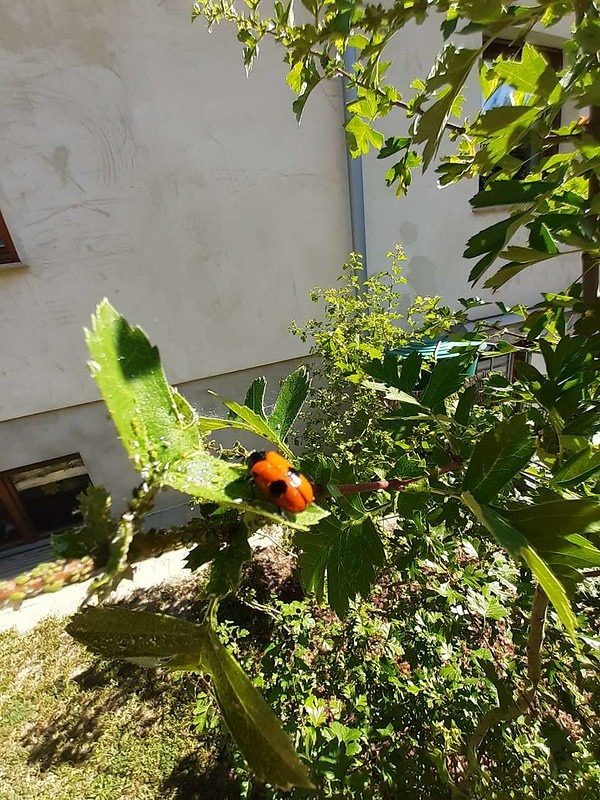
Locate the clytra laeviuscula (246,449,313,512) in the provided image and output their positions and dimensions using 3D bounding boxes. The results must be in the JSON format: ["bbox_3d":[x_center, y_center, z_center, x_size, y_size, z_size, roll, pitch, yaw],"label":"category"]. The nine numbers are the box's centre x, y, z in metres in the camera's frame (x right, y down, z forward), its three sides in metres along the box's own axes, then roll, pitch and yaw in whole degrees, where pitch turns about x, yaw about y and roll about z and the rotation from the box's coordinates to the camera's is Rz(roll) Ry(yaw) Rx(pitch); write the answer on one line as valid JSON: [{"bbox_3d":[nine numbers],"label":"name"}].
[{"bbox_3d":[-0.042,0.148,0.938,0.095,0.103,0.030,-44,-7,-38],"label":"clytra laeviuscula"}]
